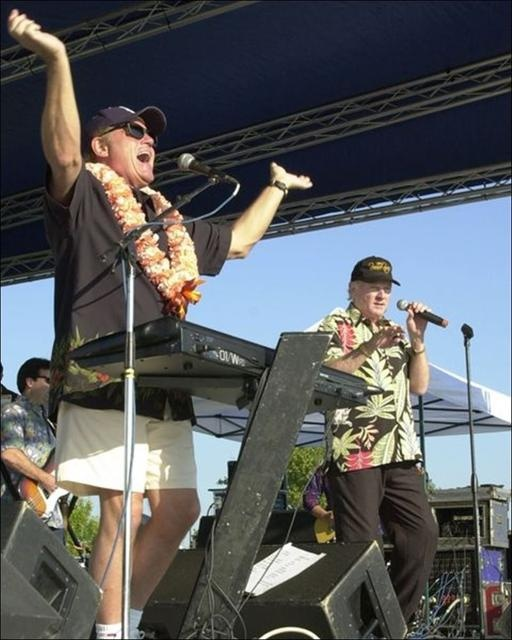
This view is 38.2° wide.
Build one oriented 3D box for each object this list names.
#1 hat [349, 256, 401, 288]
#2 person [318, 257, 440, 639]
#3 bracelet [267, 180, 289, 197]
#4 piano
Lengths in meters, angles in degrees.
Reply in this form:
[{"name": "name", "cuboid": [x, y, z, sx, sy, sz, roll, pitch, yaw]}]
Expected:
[{"name": "hat", "cuboid": [0.561, -0.219, 3.696, 0.211, 0.144, 0.285, 4, -6, -36]}, {"name": "person", "cuboid": [0.577, 0.547, 3.411, 0.761, 1.777, 0.607, 4, -10, -11]}, {"name": "bracelet", "cuboid": [0.080, -0.478, 2.715, 0.063, 0.023, 0.061, 25, -7, 27]}, {"name": "piano", "cuboid": [-0.165, 0.128, 2.069, 0.581, 0.098, 0.370, 16, -30, -42]}]
